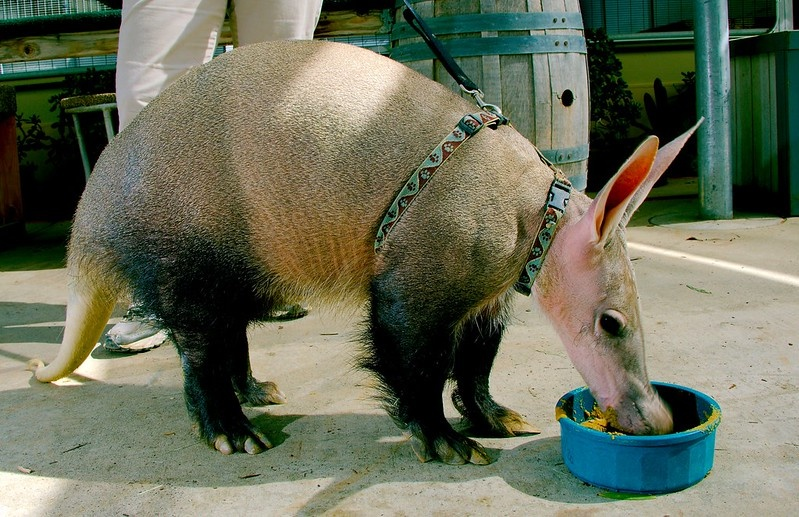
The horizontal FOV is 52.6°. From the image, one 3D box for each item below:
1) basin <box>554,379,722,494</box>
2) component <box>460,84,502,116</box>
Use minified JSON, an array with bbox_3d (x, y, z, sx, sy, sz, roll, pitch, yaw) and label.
[{"bbox_3d":[0.946,0.724,3.102,0.501,0.169,0.459,-4,11,1],"label":"basin"},{"bbox_3d":[0.352,-0.665,3.424,0.233,0.050,0.135,43,30,21],"label":"component"}]
